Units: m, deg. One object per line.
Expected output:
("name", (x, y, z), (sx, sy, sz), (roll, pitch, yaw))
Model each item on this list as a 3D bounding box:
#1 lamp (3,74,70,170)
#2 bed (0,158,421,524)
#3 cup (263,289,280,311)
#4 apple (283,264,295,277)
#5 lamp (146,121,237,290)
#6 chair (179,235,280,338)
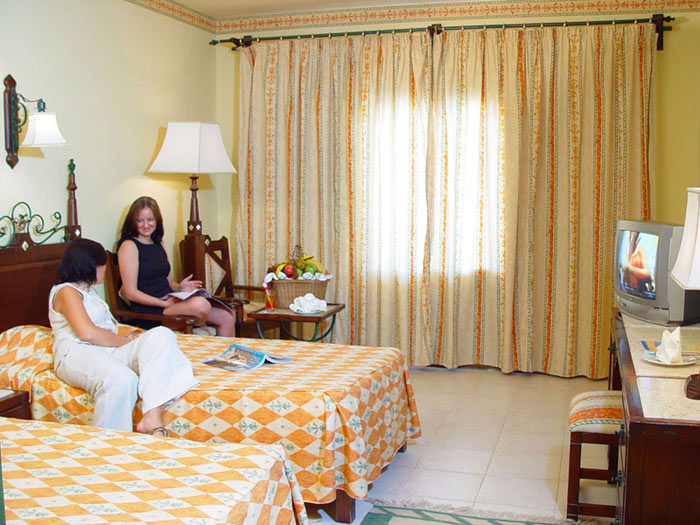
("lamp", (-2.056, -0.910, 3.827), (0.307, 0.594, 0.267), (4, 10, 34))
("bed", (-0.843, 0.396, 3.904), (2.394, 1.721, 1.574), (2, 10, 13))
("cup", (-0.653, 0.322, 4.925), (0.136, 0.233, 0.139), (0, -1, 0))
("apple", (-0.507, 0.062, 4.971), (0.086, 0.111, 0.093), (7, 11, 26))
("lamp", (-1.330, -0.539, 5.131), (0.681, 1.192, 0.641), (2, -1, -43))
("chair", (-1.015, 0.345, 5.236), (0.702, 1.146, 0.779), (-1, 4, 10))
